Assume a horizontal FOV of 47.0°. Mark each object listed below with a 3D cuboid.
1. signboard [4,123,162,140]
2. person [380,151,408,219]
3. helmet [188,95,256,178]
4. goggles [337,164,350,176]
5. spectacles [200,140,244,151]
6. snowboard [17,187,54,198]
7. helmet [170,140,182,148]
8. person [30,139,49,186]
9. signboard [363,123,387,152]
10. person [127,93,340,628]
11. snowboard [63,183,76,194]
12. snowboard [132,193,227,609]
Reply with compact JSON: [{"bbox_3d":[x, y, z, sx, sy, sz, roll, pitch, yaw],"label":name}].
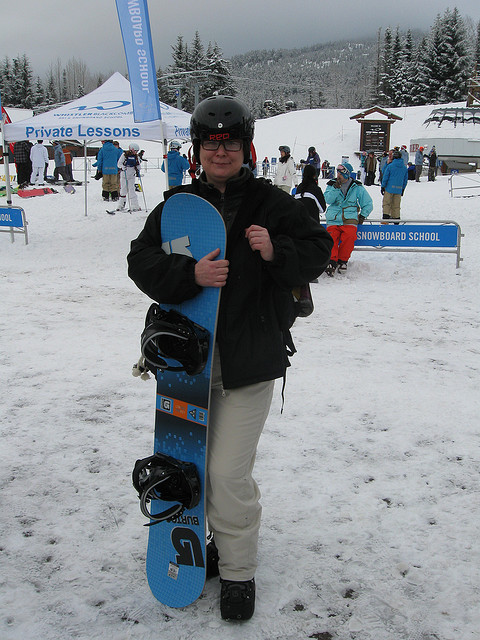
[{"bbox_3d":[-3.107,-3.783,11.081,2.988,0.409,0.541,-1,15,-9],"label":"signboard"},{"bbox_3d":[3.250,-2.826,11.624,0.478,1.371,0.800,5,15,14],"label":"person"},{"bbox_3d":[-0.058,-0.670,1.951,0.228,0.246,0.192,0,15,-2],"label":"helmet"},{"bbox_3d":[1.535,-2.234,8.214,0.132,0.126,0.211,8,16,26],"label":"goggles"},{"bbox_3d":[-0.057,-0.601,1.906,0.144,0.035,0.063,0,14,-2],"label":"spectacles"},{"bbox_3d":[-6.371,-3.963,17.195,0.675,0.174,0.495,-12,13,-42],"label":"snowboard"},{"bbox_3d":[-1.679,-4.546,14.313,0.212,0.258,0.246,22,19,39],"label":"helmet"},{"bbox_3d":[-6.953,-5.391,19.104,0.609,1.437,1.434,-5,16,-20],"label":"person"},{"bbox_3d":[10.544,-14.230,43.064,1.805,2.095,0.948,5,15,14],"label":"signboard"},{"bbox_3d":[-0.074,0.118,2.001,0.619,1.824,0.552,10,17,30],"label":"person"},{"bbox_3d":[-5.540,-4.270,17.973,0.290,0.288,0.756,-4,15,-17],"label":"snowboard"},{"bbox_3d":[-0.215,0.300,1.988,0.338,1.472,0.456,-1,15,-8],"label":"snowboard"}]
